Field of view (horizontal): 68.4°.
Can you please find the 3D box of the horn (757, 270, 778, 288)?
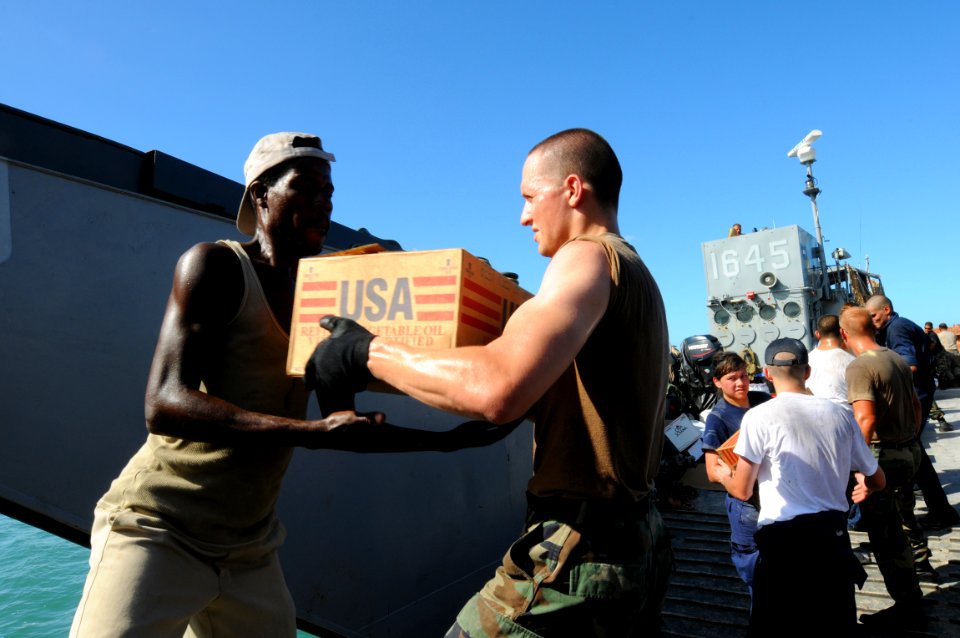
[{"bbox_3d":[6.665,-0.901,16.379,0.338,0.358,0.366,24,10,33],"label":"horn"}]
